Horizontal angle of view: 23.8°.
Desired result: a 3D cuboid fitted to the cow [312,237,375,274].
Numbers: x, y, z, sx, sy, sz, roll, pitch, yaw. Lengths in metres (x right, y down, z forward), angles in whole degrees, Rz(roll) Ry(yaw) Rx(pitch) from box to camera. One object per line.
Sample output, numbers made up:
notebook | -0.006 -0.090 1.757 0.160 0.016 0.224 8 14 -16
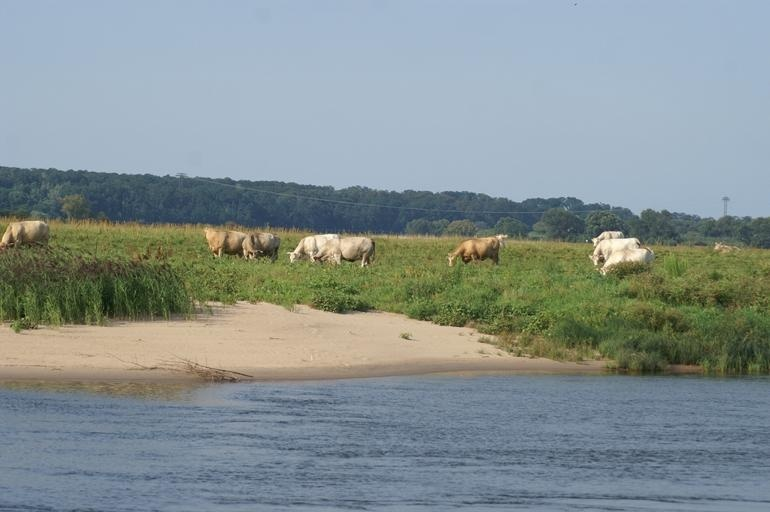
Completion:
cow | -1.715 -0.438 91.073 2.981 1.415 2.032 1 -2 -11

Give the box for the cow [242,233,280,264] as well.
cow | -6.183 -0.710 92.908 2.150 1.406 1.283 2 -2 -37

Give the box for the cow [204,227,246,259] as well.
cow | -8.114 -0.910 93.319 2.103 1.557 1.926 1 -2 -6

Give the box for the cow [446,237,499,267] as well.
cow | 4.852 -0.476 92.075 2.790 1.491 2.143 1 -2 -7
